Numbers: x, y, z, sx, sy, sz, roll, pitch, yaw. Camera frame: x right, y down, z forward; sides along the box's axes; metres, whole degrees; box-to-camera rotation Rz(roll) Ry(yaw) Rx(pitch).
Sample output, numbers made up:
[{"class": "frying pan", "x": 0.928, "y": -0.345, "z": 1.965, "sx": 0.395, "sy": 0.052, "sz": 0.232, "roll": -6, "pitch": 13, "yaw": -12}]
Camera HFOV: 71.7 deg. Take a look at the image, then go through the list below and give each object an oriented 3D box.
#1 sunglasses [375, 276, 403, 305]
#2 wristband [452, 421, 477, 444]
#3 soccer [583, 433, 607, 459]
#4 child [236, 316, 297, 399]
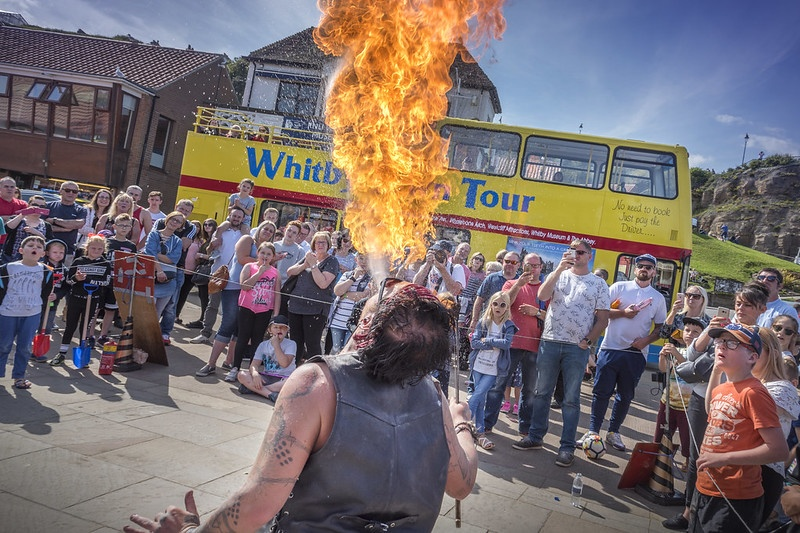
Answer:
[{"class": "sunglasses", "x": -0.087, "y": 0.186, "z": 4.121, "sx": 0.061, "sy": 0.185, "sz": 0.174, "roll": 4, "pitch": 2, "yaw": 28}, {"class": "wristband", "x": 0.524, "y": 1.277, "z": 4.326, "sx": 0.134, "sy": 0.196, "sz": 0.102, "roll": 17, "pitch": -17, "yaw": -12}, {"class": "soccer", "x": 2.753, "y": 2.575, "z": 7.896, "sx": 0.292, "sy": 0.370, "sz": 0.315, "roll": 0, "pitch": -1, "yaw": 9}, {"class": "child", "x": -2.014, "y": 1.447, "z": 8.822, "sx": 0.863, "sy": 1.342, "sz": 1.197, "roll": 3, "pitch": -6, "yaw": 6}]
